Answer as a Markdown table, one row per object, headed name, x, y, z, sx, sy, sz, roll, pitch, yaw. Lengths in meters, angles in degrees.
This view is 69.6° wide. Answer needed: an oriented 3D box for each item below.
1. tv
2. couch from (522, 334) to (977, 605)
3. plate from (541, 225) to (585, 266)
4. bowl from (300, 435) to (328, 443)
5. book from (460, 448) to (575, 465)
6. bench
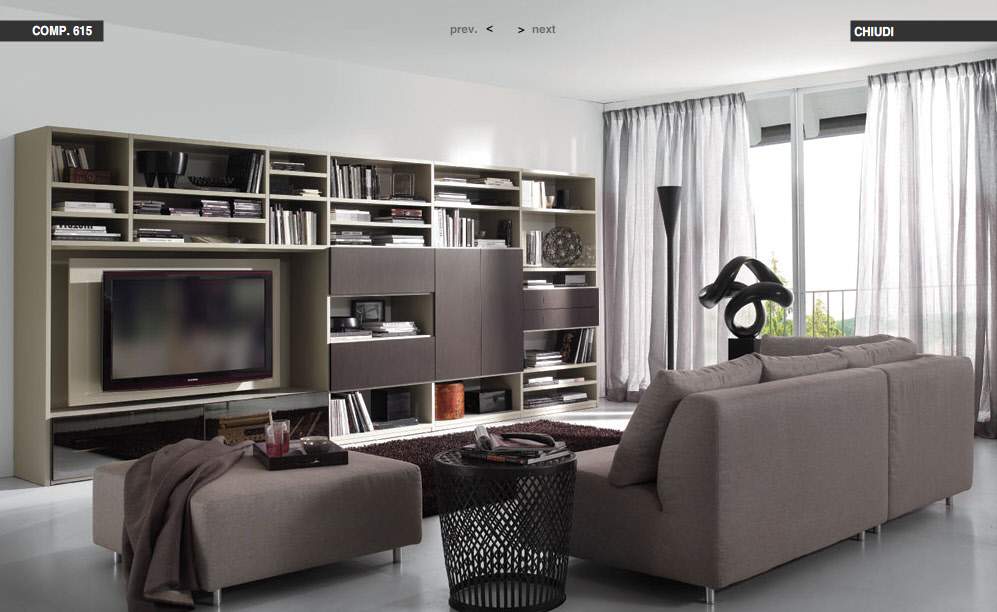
| name | x | y | z | sx | sy | sz | roll | pitch | yaw |
| --- | --- | --- | --- | --- | --- | --- | --- | --- | --- |
| tv | -2.705 | 0.198 | 6.085 | 1.177 | 0.755 | 0.120 | 0 | 0 | -35 |
| couch | 1.724 | 0.855 | 4.260 | 2.524 | 1.182 | 0.658 | -5 | 9 | -29 |
| plate | 0.737 | -0.668 | 8.139 | 0.479 | 0.431 | 0.153 | 3 | -2 | -14 |
| bowl | -1.124 | 0.806 | 4.307 | 0.122 | 0.023 | 0.118 | -1 | -3 | 0 |
| book | 0.095 | 0.761 | 3.673 | 0.580 | 0.070 | 0.177 | -1 | 7 | -1 |
| bench | -1.131 | 1.176 | 4.041 | 0.972 | 0.453 | 1.055 | 2 | -5 | -40 |
